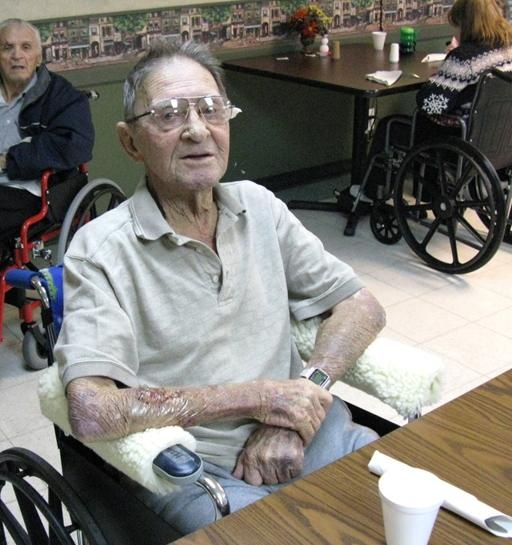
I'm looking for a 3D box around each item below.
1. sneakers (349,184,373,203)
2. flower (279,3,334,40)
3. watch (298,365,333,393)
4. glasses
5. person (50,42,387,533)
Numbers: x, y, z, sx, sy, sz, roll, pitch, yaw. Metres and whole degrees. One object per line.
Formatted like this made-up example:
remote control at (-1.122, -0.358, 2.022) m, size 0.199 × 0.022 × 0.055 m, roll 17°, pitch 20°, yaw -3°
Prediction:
sneakers at (0.795, -0.603, 3.733) m, size 0.189 × 0.034 × 0.107 m, roll 20°, pitch 53°, yaw 13°
flower at (0.417, -2.133, 4.105) m, size 0.350 × 0.294 × 0.343 m, roll -5°, pitch 24°, yaw -8°
watch at (0.127, 0.220, 1.010) m, size 0.063 × 0.038 × 0.060 m, roll 35°, pitch -10°, yaw -3°
glasses at (-0.152, -0.336, 0.996) m, size 0.231 × 0.054 × 0.102 m, roll -6°, pitch 24°, yaw -12°
person at (-0.136, -0.055, 1.411) m, size 1.008 × 1.045 × 0.829 m, roll 4°, pitch 18°, yaw 44°
